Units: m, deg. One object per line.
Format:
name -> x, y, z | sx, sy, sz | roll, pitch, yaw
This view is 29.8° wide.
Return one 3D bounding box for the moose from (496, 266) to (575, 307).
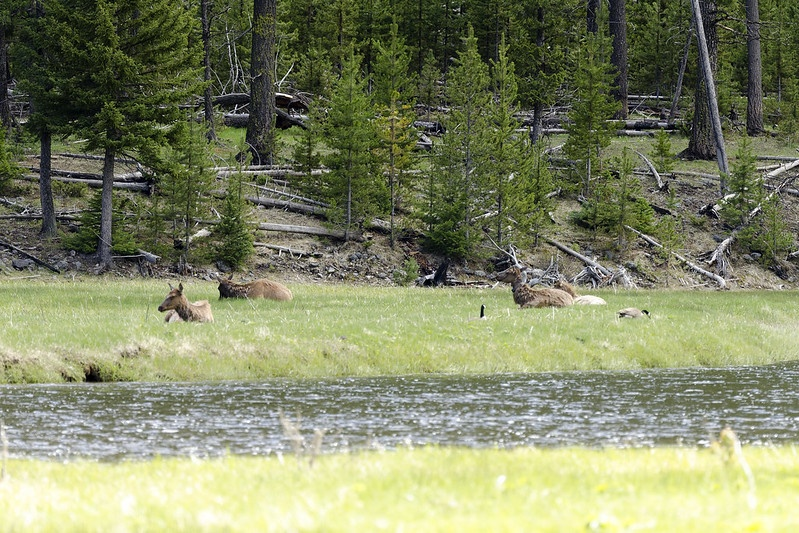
moose -> 7.115, 1.383, 79.297 | 3.210, 1.922, 2.095 | 15, 1, 0
